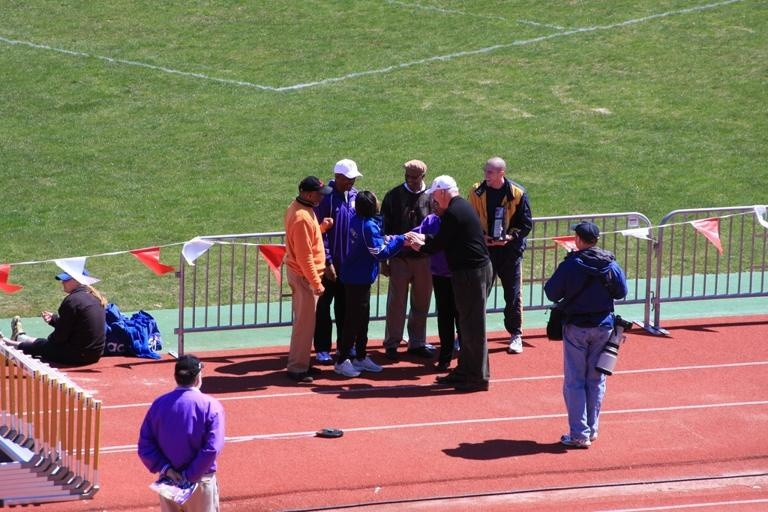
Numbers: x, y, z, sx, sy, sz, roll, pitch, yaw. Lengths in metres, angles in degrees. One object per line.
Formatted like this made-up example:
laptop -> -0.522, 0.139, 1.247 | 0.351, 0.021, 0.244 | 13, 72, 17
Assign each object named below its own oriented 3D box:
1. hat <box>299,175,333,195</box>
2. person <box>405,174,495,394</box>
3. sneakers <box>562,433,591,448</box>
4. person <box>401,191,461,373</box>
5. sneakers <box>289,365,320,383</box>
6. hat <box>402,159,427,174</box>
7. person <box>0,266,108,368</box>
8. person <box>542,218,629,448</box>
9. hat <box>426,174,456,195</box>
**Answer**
hat -> -1.225, -1.279, 27.469 | 0.531, 0.178, 0.310 | -1, 23, -13
person -> 1.406, 0.520, 27.343 | 1.006, 3.875, 0.405 | -2, 8, 12
sneakers -> 3.292, 3.177, 26.333 | 0.497, 0.201, 0.212 | 10, 14, 29
person -> 1.117, 0.390, 28.175 | 1.215, 3.696, 0.958 | -4, 35, -8
sneakers -> -1.503, 2.158, 27.909 | 0.700, 0.248, 0.214 | -3, 12, -1
hat -> 0.577, -1.628, 27.946 | 0.336, 0.215, 0.283 | -5, 8, -14
person -> -5.903, 1.185, 28.166 | 1.519, 1.692, 0.497 | -4, 8, -10
person -> 3.462, 1.352, 26.311 | 1.269, 3.848, 0.674 | -3, 8, 5
hat -> 1.044, -1.283, 27.295 | 0.456, 0.224, 0.296 | 2, 7, 13
